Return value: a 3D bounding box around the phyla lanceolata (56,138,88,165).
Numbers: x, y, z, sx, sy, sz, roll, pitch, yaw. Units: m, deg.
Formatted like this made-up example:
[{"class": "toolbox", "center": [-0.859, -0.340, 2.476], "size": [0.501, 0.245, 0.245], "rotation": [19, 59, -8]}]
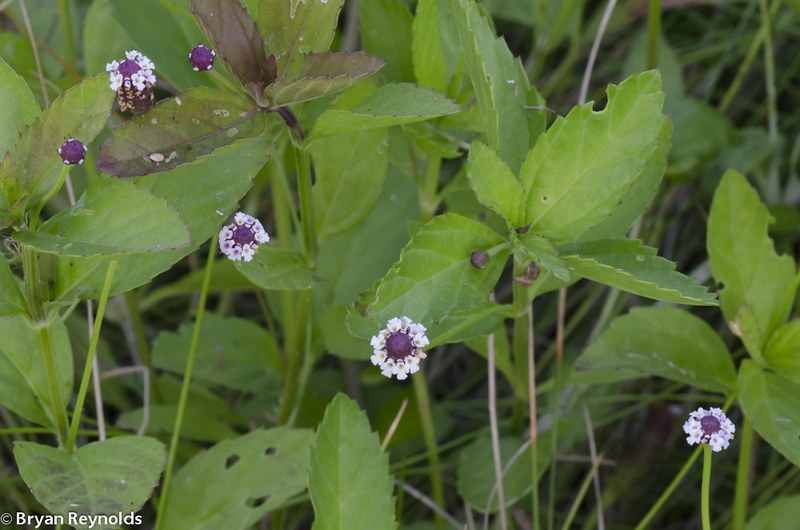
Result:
[{"class": "phyla lanceolata", "center": [-0.475, -0.165, 1.165], "size": [0.038, 0.036, 0.041], "rotation": [-17, 58, -20]}]
